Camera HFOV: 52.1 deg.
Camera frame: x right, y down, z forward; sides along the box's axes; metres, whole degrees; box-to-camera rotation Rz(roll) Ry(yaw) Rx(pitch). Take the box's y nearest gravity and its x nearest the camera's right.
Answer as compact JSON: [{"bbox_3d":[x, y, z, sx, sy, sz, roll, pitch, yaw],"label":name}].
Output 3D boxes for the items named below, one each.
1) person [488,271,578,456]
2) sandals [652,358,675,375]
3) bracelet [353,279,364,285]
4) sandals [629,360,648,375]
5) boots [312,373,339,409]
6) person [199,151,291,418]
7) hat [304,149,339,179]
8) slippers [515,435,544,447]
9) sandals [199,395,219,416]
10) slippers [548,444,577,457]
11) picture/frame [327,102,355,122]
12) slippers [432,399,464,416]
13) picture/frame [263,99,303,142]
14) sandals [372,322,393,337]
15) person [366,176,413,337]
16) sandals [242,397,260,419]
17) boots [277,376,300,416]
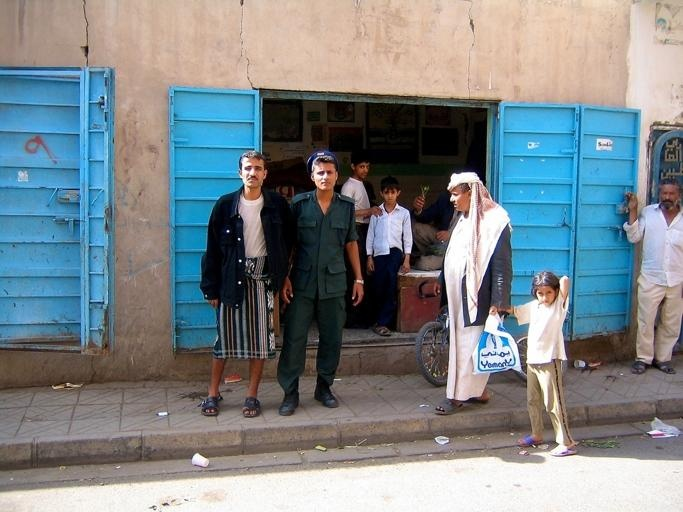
[{"bbox_3d":[1.888,0.982,6.432,0.531,1.670,0.370,-1,9,13],"label":"person"},{"bbox_3d":[3.851,1.307,8.285,0.103,0.118,0.298,-2,2,-14],"label":"sandals"},{"bbox_3d":[0.177,0.257,7.097,0.077,0.054,0.084,-1,-13,20],"label":"bracelet"},{"bbox_3d":[3.498,1.299,8.159,0.105,0.115,0.294,-5,-9,33],"label":"sandals"},{"bbox_3d":[-0.158,1.379,7.040,0.143,0.175,0.417,-2,6,-24],"label":"boots"},{"bbox_3d":[-0.918,0.002,6.774,0.898,2.000,0.359,-3,8,-5],"label":"person"},{"bbox_3d":[-0.182,-0.943,6.739,0.329,0.078,0.330,1,-16,-11],"label":"hat"},{"bbox_3d":[1.782,1.733,6.572,0.230,0.089,0.098,1,0,-5],"label":"slippers"},{"bbox_3d":[-1.279,1.450,6.758,0.147,0.114,0.375,1,-5,-6],"label":"sandals"},{"bbox_3d":[2.057,1.765,6.380,0.203,0.079,0.103,2,-2,-12],"label":"slippers"},{"bbox_3d":[-0.021,-2.231,10.773,0.534,0.370,0.077,0,3,-10],"label":"picture/frame"},{"bbox_3d":[1.046,1.476,6.857,0.264,0.101,0.128,-1,1,-30],"label":"slippers"},{"bbox_3d":[-0.917,-2.013,10.646,0.070,0.786,0.851,11,15,42],"label":"picture/frame"},{"bbox_3d":[0.491,0.881,8.258,0.096,0.076,0.236,-3,3,-25],"label":"sandals"},{"bbox_3d":[0.585,-0.021,8.391,0.563,1.816,0.761,-2,8,3],"label":"person"},{"bbox_3d":[-0.870,1.471,6.731,0.170,0.141,0.362,0,-2,-6],"label":"sandals"},{"bbox_3d":[-0.515,1.388,6.883,0.141,0.299,0.423,0,11,12],"label":"boots"}]
